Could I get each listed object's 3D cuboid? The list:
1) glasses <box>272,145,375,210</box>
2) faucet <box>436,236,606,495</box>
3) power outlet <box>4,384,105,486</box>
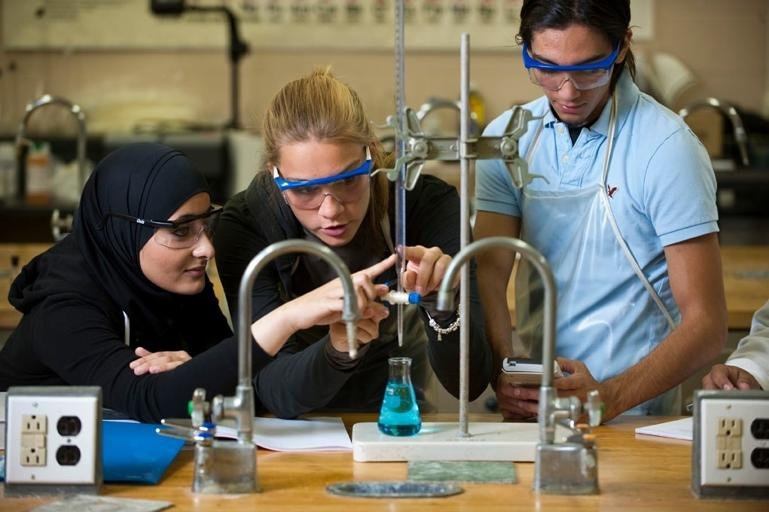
[{"bbox_3d":[-0.192,-0.238,2.522,0.303,0.183,0.146,-5,11,-8],"label":"glasses"},{"bbox_3d":[0.344,0.286,2.058,0.387,0.672,0.145,-2,12,8],"label":"faucet"},{"bbox_3d":[-0.858,0.471,2.106,0.250,0.264,0.075,-3,11,2],"label":"power outlet"}]
